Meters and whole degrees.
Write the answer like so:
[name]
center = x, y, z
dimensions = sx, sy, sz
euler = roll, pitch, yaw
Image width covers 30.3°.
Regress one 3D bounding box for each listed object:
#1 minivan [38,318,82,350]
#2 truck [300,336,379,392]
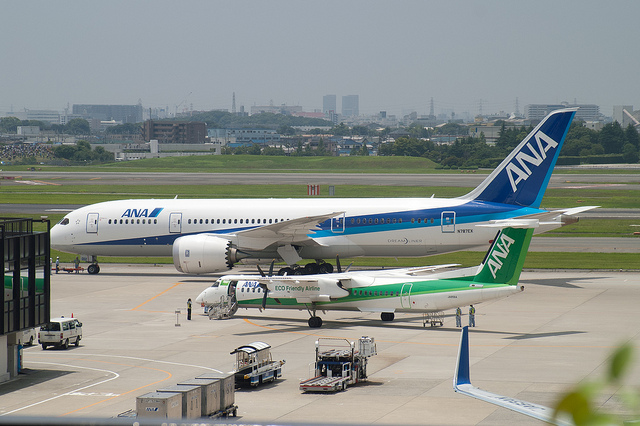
[minivan]
center = -18.433, 8.551, 83.917
dimensions = 2.196, 1.349, 3.041
euler = 2, 1, 11
[truck]
center = 1.269, 9.914, 76.659
dimensions = 2.793, 2.889, 4.656
euler = 4, 9, 32
